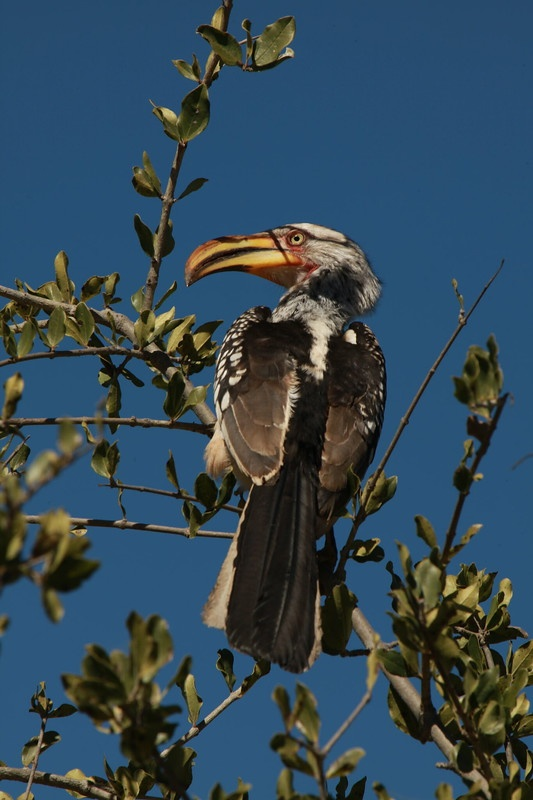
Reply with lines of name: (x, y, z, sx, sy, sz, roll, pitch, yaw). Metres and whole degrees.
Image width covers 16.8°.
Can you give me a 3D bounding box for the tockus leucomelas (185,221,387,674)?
tockus leucomelas: (0.079, 0.179, 6.235, 0.549, 1.733, 0.689, 14, -53, -7)
